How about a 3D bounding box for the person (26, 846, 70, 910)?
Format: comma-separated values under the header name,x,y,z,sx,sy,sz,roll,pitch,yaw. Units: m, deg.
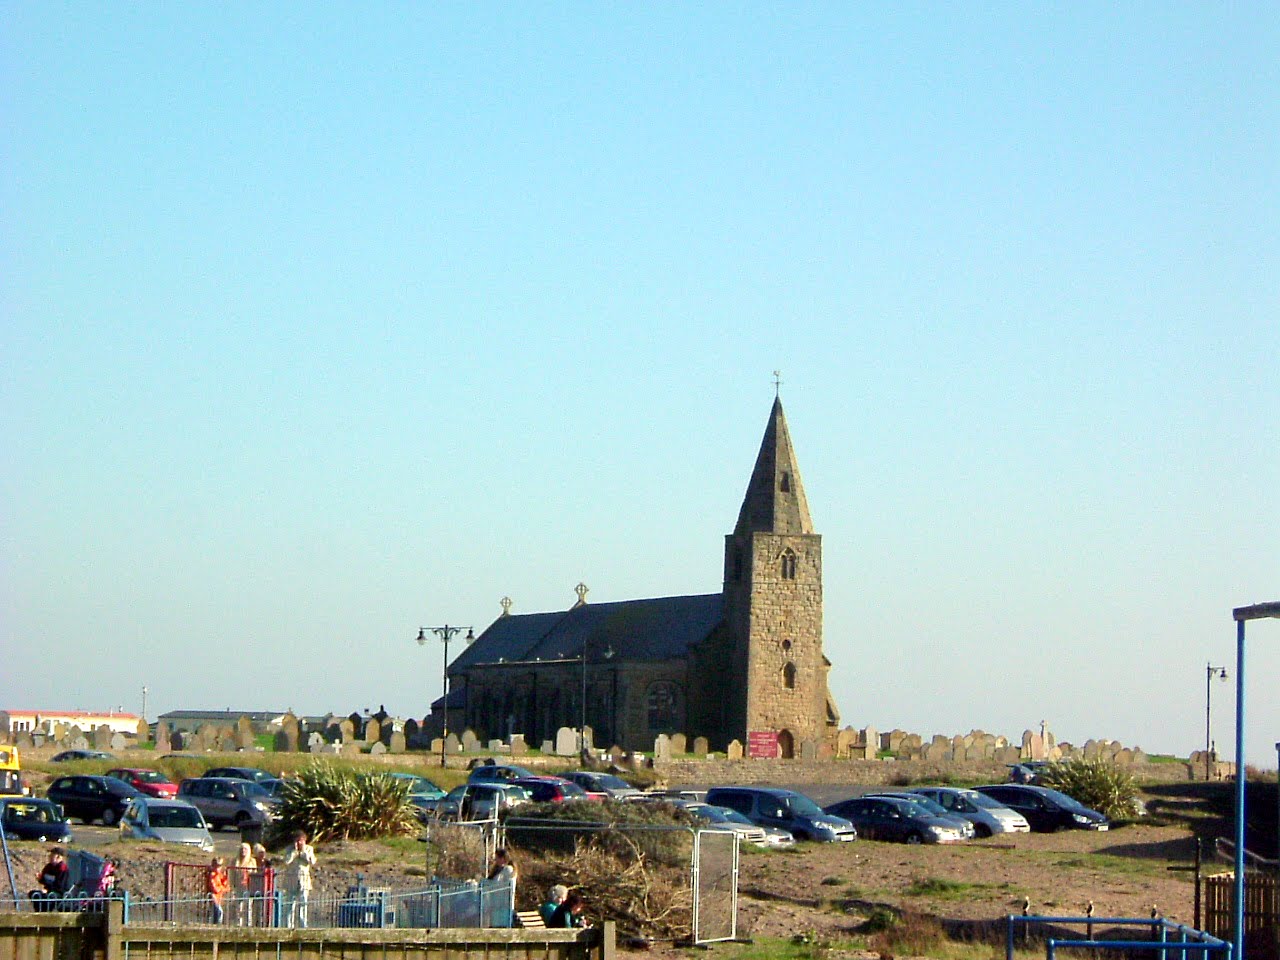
name,x,y,z,sx,sy,sz,roll,pitch,yaw
person,-13.220,8.848,53.868,0.875,1.431,0.893,8,11,-28
